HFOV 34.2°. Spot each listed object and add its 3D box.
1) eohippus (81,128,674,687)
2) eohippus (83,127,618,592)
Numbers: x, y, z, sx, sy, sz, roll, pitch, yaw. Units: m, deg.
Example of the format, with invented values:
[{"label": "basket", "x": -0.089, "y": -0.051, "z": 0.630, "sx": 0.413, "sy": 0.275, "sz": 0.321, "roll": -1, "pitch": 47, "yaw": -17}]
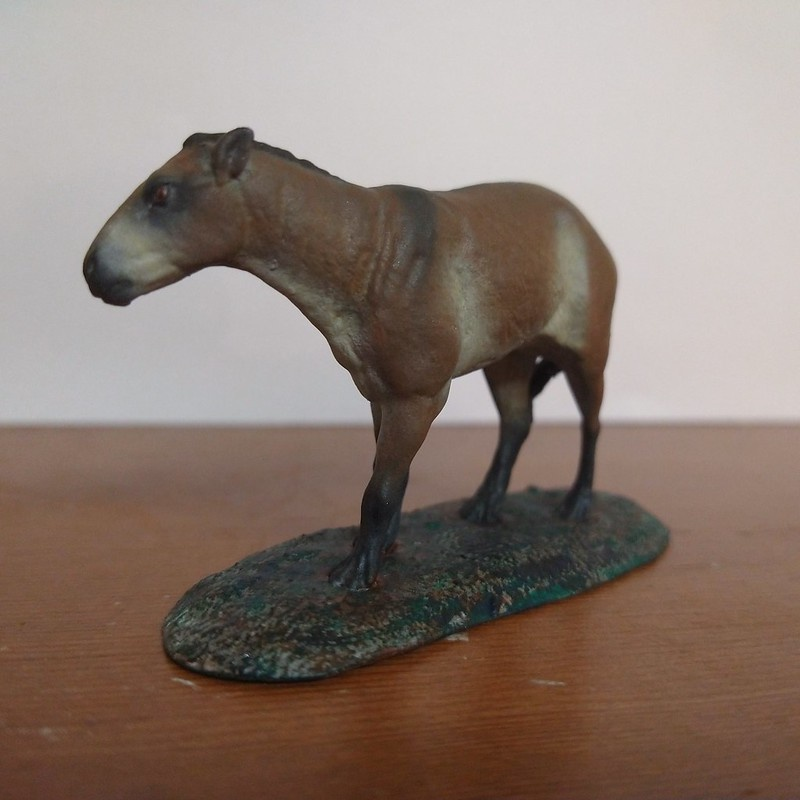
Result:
[{"label": "eohippus", "x": 0.044, "y": -0.055, "z": 2.400, "sx": 1.099, "sy": 0.881, "sz": 0.461, "roll": -11, "pitch": 19, "yaw": -29}, {"label": "eohippus", "x": -0.039, "y": -0.095, "z": 2.384, "sx": 1.045, "sy": 0.769, "sz": 0.379, "roll": -9, "pitch": 26, "yaw": -41}]
